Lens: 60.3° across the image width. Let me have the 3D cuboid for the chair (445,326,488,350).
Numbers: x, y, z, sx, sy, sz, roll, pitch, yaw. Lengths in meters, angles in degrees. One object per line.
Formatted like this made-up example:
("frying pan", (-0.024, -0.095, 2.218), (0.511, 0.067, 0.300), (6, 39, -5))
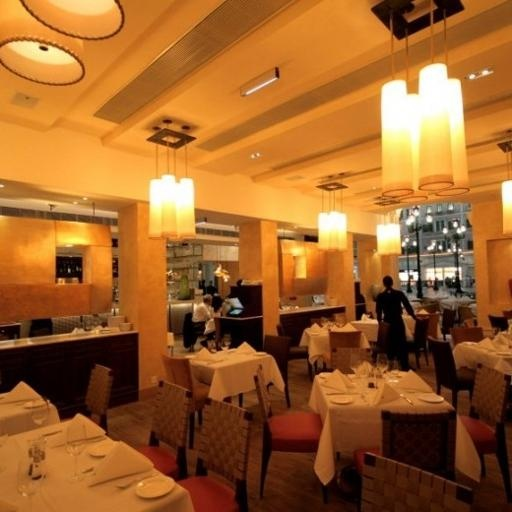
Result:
("chair", (3.027, 1.122, 6.324), (0.346, 0.499, 0.372), (5, -7, -43))

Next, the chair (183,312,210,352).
("chair", (-1.457, 1.721, 10.001), (0.758, 1.059, 0.726), (1, 2, -12))

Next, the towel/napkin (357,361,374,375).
("towel/napkin", (1.016, 1.043, 4.066), (0.118, 0.059, 0.120), (-5, -5, 43))

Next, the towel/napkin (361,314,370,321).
("towel/napkin", (2.209, 1.232, 8.846), (0.141, 0.160, 0.211), (-3, 0, -2))

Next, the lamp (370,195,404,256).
("lamp", (2.666, -0.535, 8.981), (0.330, 1.087, 0.320), (-7, -4, 9))

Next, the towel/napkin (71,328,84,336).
("towel/napkin", (-2.552, 1.090, 6.328), (0.140, 0.064, 0.187), (0, -3, 5))

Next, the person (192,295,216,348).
("person", (-1.218, 1.472, 10.458), (0.522, 1.130, 0.445), (-1, 8, -6))

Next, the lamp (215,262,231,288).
("lamp", (-1.085, 0.634, 14.260), (0.496, 0.364, 0.658), (9, 8, -4))

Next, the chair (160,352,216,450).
("chair", (-0.688, 1.559, 4.898), (0.595, 0.953, 0.608), (-2, 0, -26))

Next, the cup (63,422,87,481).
("cup", (-0.986, 1.060, 2.410), (0.113, 0.355, 0.106), (4, 8, -1))

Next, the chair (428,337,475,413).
("chair", (2.349, 1.379, 5.004), (0.496, 0.781, 0.522), (-2, -3, -10))

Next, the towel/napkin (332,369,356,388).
("towel/napkin", (0.759, 1.057, 3.815), (0.107, 0.051, 0.133), (-3, 5, -24))

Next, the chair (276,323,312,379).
("chair", (0.653, 1.562, 7.071), (0.525, 0.843, 0.555), (-3, -3, -16))

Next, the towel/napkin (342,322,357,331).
("towel/napkin", (1.600, 1.215, 7.515), (0.200, 0.104, 0.295), (-3, -10, 19))

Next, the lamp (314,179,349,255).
("lamp", (1.398, -0.678, 7.732), (0.417, 1.185, 0.461), (-7, -9, 27))

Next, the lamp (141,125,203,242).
("lamp", (-0.972, -0.830, 5.239), (0.503, 1.202, 0.528), (-2, -4, -1))

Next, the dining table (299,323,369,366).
("dining table", (1.189, 1.369, 7.067), (0.892, 0.551, 0.931), (0, -3, 25))

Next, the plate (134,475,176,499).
("plate", (-0.520, 1.193, 2.275), (0.206, 0.033, 0.200), (1, -3, -37))

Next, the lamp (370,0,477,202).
("lamp", (1.114, -1.157, 2.999), (0.590, 1.570, 0.695), (-1, -2, 16))

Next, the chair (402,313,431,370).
("chair", (2.813, 1.475, 7.603), (0.478, 0.732, 0.457), (-4, -6, -5))

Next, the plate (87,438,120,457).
("plate", (-0.928, 1.178, 2.673), (0.179, 0.021, 0.190), (0, 1, 8))

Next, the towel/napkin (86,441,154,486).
("towel/napkin", (-0.728, 1.130, 2.376), (0.290, 0.179, 0.175), (-2, -3, -30))
